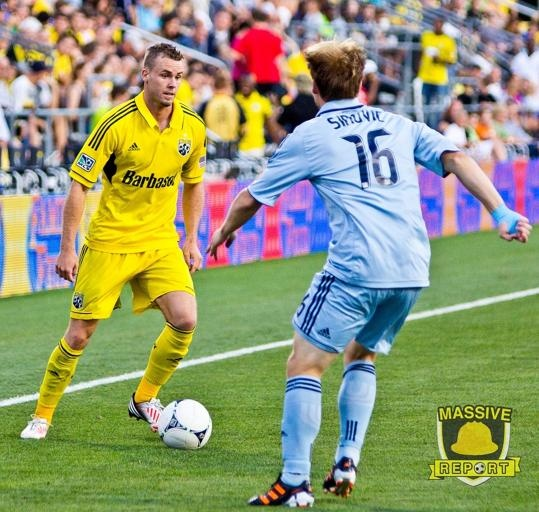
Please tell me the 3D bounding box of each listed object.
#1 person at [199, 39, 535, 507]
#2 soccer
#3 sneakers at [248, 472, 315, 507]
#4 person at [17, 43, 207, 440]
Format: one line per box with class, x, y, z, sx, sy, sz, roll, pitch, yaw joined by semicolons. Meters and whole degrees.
person;0.410;0.034;4.845;1.052;2.024;0.833;22;23;35
soccer;-0.473;0.962;5.617;0.260;0.253;0.252;5;39;-31
sneakers;0.067;1.074;4.622;0.305;0.137;0.108;1;-7;12
person;-0.766;-0.131;5.772;0.792;2.129;0.659;7;19;-5
